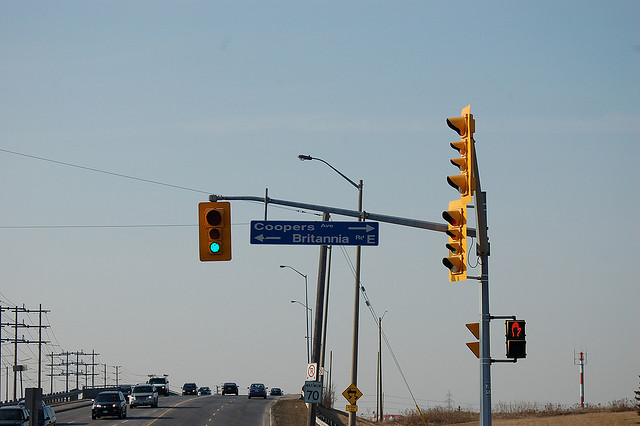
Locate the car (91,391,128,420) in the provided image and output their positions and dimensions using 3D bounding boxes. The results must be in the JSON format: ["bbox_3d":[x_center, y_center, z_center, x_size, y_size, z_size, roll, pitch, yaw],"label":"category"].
[{"bbox_3d":[-16.800,15.459,115.602,2.705,2.565,1.774,2,-16,-12],"label":"car"}]

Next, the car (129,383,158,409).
[{"bbox_3d":[-15.180,15.736,125.110,2.395,2.156,1.772,8,-18,-28],"label":"car"}]

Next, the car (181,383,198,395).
[{"bbox_3d":[-13.990,19.314,156.431,1.167,1.337,2.416,-4,-17,9],"label":"car"}]

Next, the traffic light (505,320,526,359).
[{"bbox_3d":[12.430,7.854,89.365,1.177,2.513,1.218,-3,-16,5],"label":"traffic light"}]

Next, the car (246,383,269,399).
[{"bbox_3d":[-6.082,17.957,144.791,1.797,1.685,1.984,1,-17,-8],"label":"car"}]
